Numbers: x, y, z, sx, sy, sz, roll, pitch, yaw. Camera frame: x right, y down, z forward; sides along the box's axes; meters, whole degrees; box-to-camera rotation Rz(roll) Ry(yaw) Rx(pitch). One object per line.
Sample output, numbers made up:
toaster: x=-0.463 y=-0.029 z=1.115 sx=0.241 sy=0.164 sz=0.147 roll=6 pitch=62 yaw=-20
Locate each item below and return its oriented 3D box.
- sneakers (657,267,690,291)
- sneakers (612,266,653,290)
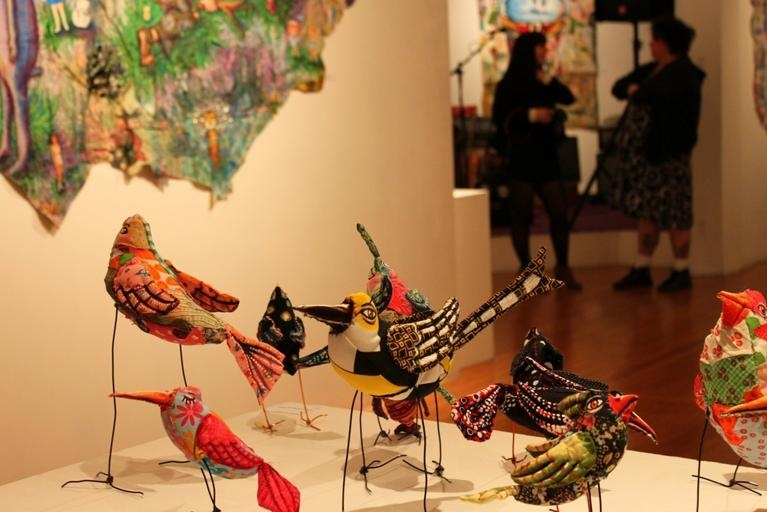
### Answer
sneakers: x=1.395 y=0.113 z=3.575 sx=0.134 sy=0.087 sz=0.070 roll=2 pitch=8 yaw=14
sneakers: x=1.217 y=0.113 z=3.617 sx=0.204 sy=0.132 sz=0.065 roll=0 pitch=8 yaw=18
